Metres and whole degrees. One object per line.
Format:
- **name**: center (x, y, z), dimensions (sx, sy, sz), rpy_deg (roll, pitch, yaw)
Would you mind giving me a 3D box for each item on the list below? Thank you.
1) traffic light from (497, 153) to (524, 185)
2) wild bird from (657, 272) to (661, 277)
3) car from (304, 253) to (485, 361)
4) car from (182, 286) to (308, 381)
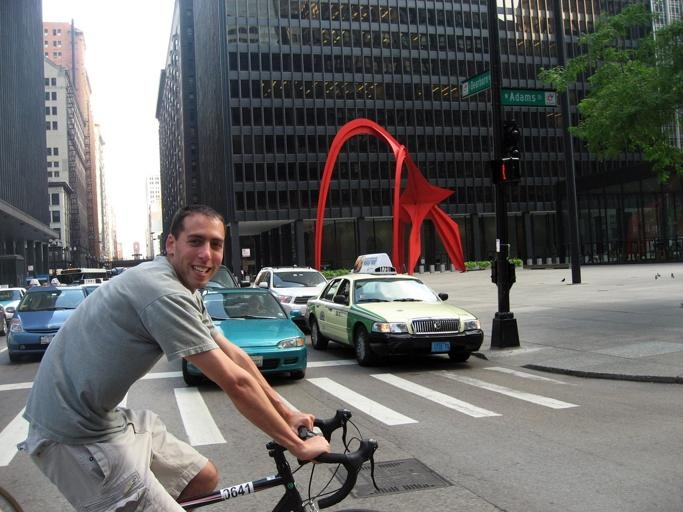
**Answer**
- **traffic light**: center (4.238, -2.150, 13.010), dimensions (0.588, 0.969, 0.610), rpy_deg (-1, -2, 18)
- **wild bird**: center (19.247, 1.158, 31.426), dimensions (0.166, 0.220, 0.061), rpy_deg (0, -13, -12)
- **car**: center (0.856, 1.246, 12.467), dimensions (1.841, 1.930, 4.416), rpy_deg (2, -5, -19)
- **car**: center (-1.814, 1.480, 10.839), dimensions (1.306, 1.207, 3.082), rpy_deg (0, -2, -16)
